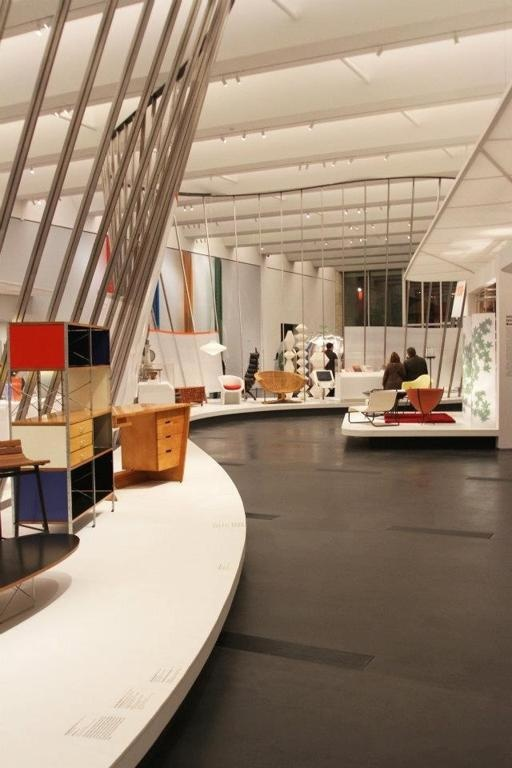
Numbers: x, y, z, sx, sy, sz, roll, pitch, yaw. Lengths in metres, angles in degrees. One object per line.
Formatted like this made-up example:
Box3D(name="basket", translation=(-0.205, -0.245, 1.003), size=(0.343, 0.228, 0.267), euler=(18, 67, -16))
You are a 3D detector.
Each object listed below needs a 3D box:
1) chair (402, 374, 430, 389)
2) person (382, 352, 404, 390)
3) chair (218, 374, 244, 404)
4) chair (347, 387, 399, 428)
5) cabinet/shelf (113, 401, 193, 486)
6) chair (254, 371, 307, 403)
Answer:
Box3D(name="chair", translation=(3.393, -0.012, 11.629), size=(0.431, 0.493, 0.353), euler=(1, -4, 12))
Box3D(name="person", translation=(2.982, -0.271, 11.924), size=(0.423, 0.802, 0.626), euler=(3, 3, 17))
Box3D(name="chair", translation=(-0.752, 0.186, 16.657), size=(0.704, 0.900, 0.767), euler=(0, -2, -17))
Box3D(name="chair", translation=(2.336, 0.459, 10.802), size=(0.650, 0.767, 1.065), euler=(-1, 3, -13))
Box3D(name="cabinet/shelf", translation=(-1.125, 0.493, 6.252), size=(0.736, 1.101, 1.093), euler=(-2, 4, -24))
Box3D(name="chair", translation=(0.877, 0.042, 17.409), size=(1.370, 0.886, 1.580), euler=(3, 3, 17))
